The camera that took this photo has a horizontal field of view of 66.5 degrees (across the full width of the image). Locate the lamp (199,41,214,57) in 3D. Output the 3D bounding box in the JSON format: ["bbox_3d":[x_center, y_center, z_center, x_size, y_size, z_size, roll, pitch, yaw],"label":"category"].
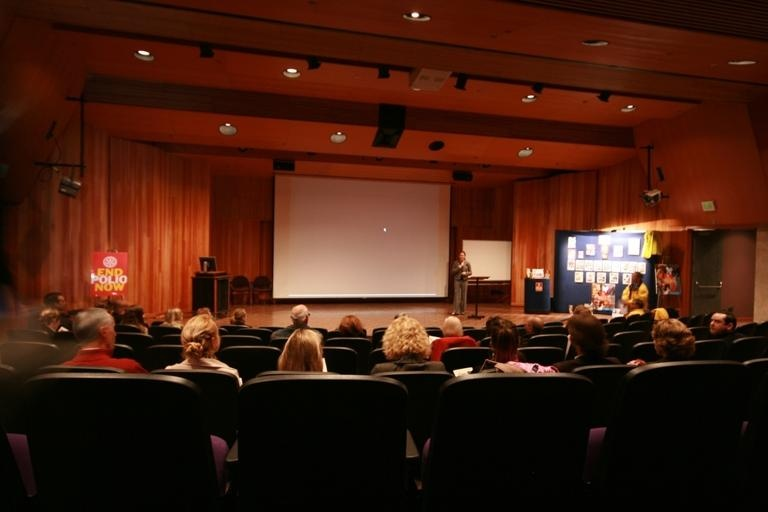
[{"bbox_3d":[-2.449,-2.842,8.050,0.170,0.158,0.166,-2,7,-15],"label":"lamp"}]

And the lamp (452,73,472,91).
[{"bbox_3d":[1.195,-2.689,9.026,0.191,0.176,0.203,3,23,5],"label":"lamp"}]

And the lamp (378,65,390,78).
[{"bbox_3d":[0.002,-2.740,8.702,0.158,0.144,0.155,-1,11,-3],"label":"lamp"}]

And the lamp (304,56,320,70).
[{"bbox_3d":[-1.030,-2.769,8.379,0.199,0.054,0.148,-8,5,15],"label":"lamp"}]

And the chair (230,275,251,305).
[{"bbox_3d":[-3.640,0.865,14.755,0.658,0.874,0.649,0,1,-22],"label":"chair"}]

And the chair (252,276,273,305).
[{"bbox_3d":[-2.970,0.864,14.956,0.687,0.861,0.645,1,7,-7],"label":"chair"}]

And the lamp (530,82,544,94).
[{"bbox_3d":[2.396,-2.630,9.171,0.150,0.122,0.139,1,4,28],"label":"lamp"}]

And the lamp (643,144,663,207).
[{"bbox_3d":[5.110,-1.533,11.128,0.334,1.123,0.580,0,-5,25],"label":"lamp"}]

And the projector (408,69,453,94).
[{"bbox_3d":[0.675,-2.656,8.674,0.494,0.169,0.756,2,-4,-11],"label":"projector"}]
